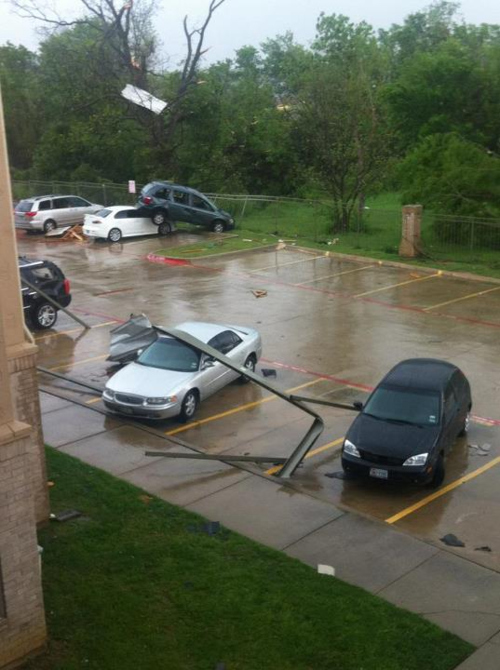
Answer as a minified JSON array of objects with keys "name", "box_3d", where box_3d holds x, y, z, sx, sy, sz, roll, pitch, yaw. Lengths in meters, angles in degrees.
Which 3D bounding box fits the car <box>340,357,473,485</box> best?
[{"name":"car","box_3d":[2.718,1.240,10.577,1.629,1.097,3.386,13,26,27]}]

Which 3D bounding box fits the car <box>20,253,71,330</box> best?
[{"name":"car","box_3d":[-5.690,-1.104,17.538,1.087,1.915,1.599,-2,11,-7]}]
